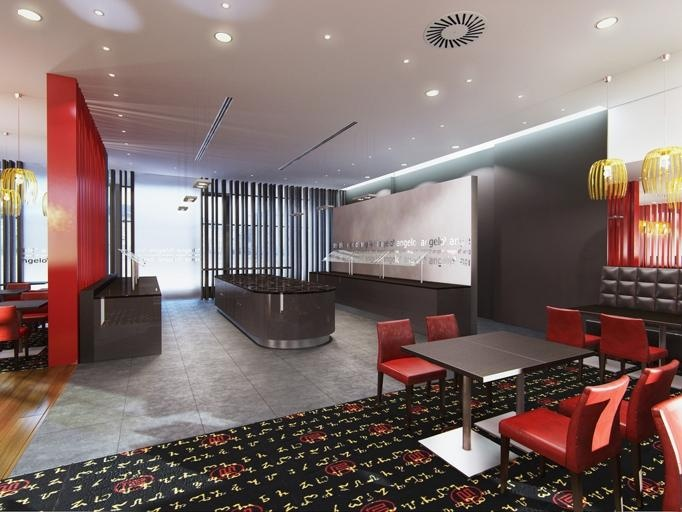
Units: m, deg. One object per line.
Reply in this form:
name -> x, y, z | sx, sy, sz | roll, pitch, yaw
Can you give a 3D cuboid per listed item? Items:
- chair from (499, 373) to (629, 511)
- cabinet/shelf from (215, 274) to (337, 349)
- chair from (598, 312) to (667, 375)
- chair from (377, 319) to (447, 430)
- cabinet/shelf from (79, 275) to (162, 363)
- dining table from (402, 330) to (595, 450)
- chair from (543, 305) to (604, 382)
chair -> 2.010, 1.611, 3.950 | 1.058, 1.204, 0.606 | 5, 13, 24
cabinet/shelf -> -1.425, 1.016, 8.653 | 1.200, 1.280, 2.855 | -8, 14, -34
chair -> 3.849, 1.220, 5.810 | 0.675, 0.888, 0.594 | -1, 3, -34
chair -> 0.823, 1.329, 5.282 | 0.582, 0.918, 0.745 | -3, 4, -27
cabinet/shelf -> -3.528, 1.078, 7.001 | 1.238, 1.124, 0.296 | -6, 13, -26
dining table -> 1.595, 1.070, 4.615 | 1.242, 0.871, 1.517 | -1, -1, -25
chair -> 3.300, 1.154, 6.217 | 0.659, 0.880, 0.621 | -3, 3, -19
